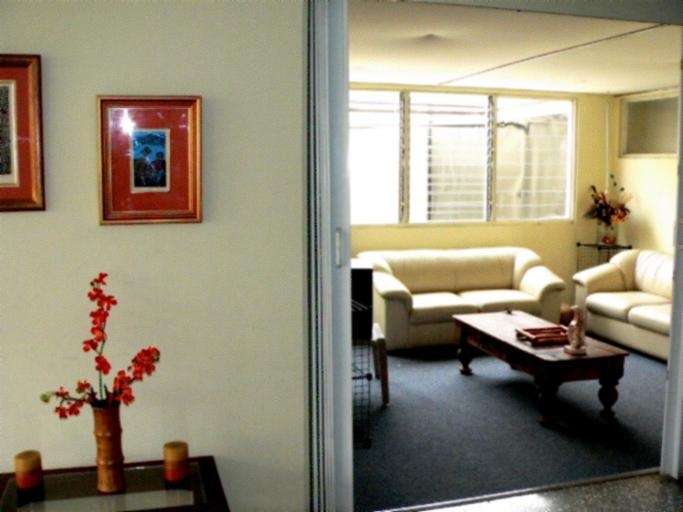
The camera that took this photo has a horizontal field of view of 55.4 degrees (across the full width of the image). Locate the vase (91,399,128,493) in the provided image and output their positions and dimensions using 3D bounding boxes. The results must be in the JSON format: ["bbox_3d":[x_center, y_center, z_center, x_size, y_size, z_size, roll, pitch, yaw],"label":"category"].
[{"bbox_3d":[-1.006,0.808,2.806,0.116,0.376,0.186,-6,14,-21],"label":"vase"}]

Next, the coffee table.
[{"bbox_3d":[1.477,0.782,4.930,0.707,0.514,1.224,-8,16,-27],"label":"coffee table"}]

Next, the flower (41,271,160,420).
[{"bbox_3d":[-1.026,0.467,2.798,0.352,0.462,0.126,2,15,14],"label":"flower"}]

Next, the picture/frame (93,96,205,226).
[{"bbox_3d":[-0.909,-0.457,3.006,0.548,0.729,0.048,0,4,-7],"label":"picture/frame"}]

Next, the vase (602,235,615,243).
[{"bbox_3d":[2.940,-0.194,7.190,0.092,0.053,0.097,0,4,2],"label":"vase"}]

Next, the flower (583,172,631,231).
[{"bbox_3d":[2.967,-0.565,7.236,0.389,0.456,0.334,5,19,12],"label":"flower"}]
